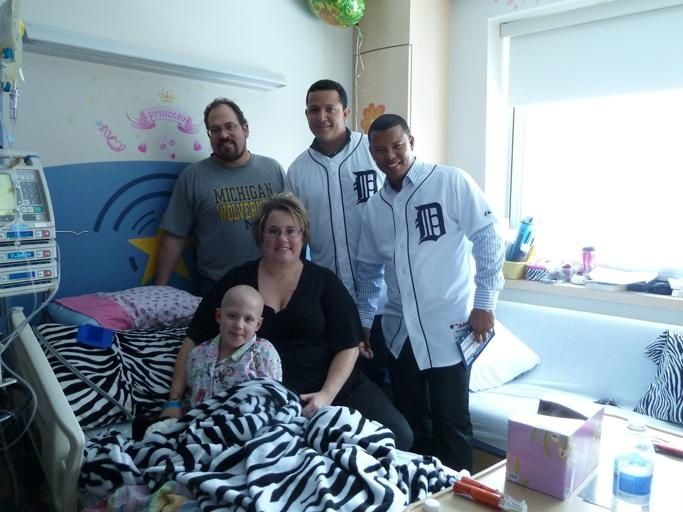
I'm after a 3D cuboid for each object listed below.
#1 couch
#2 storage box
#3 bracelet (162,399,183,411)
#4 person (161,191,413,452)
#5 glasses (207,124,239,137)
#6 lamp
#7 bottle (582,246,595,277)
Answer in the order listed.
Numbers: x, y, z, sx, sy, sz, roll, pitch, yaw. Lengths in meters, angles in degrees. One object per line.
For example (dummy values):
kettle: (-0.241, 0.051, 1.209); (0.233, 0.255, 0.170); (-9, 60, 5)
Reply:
couch: (1.185, 0.338, 2.640); (1.156, 0.831, 0.613); (2, -2, 42)
storage box: (0.653, 0.476, 1.570); (0.209, 0.269, 0.398); (2, 7, 40)
bracelet: (-0.660, 0.585, 2.006); (0.045, 0.023, 0.060); (-2, 1, -2)
person: (-0.227, 0.253, 2.178); (1.037, 1.025, 0.616); (1, 9, -1)
glasses: (-0.613, -0.648, 2.632); (0.081, 0.030, 0.095); (-7, -4, 4)
lamp: (-1.014, -1.034, 2.678); (1.363, 0.221, 0.062); (0, 23, -39)
bottle: (1.564, 0.032, 3.229); (0.076, 0.162, 0.135); (3, 12, 21)
